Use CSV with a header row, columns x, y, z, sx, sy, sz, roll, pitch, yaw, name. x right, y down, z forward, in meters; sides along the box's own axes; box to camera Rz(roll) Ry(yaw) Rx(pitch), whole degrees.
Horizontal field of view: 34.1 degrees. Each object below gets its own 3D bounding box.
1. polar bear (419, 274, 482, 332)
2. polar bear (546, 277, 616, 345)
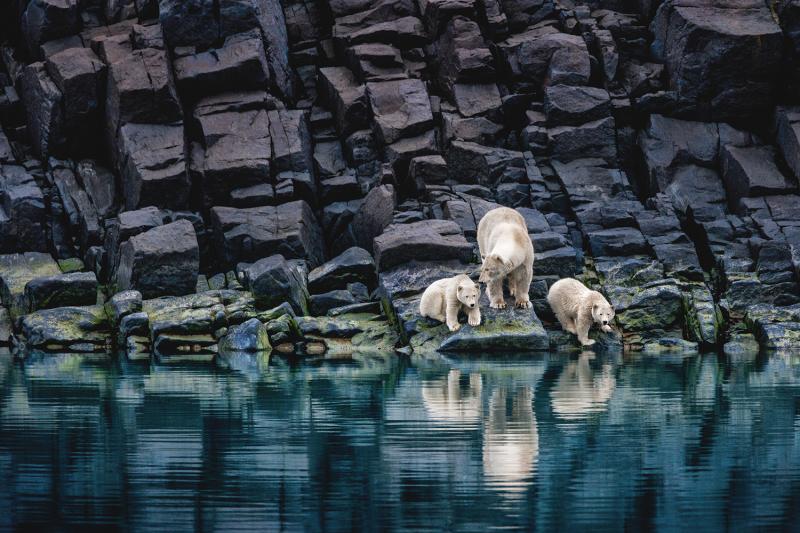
x,y,z,sx,sy,sz,roll,pitch,yaw,name
1.308,0.801,31.269,1.100,1.112,2.052,-7,13,-27,polar bear
4.550,1.044,31.657,1.176,1.282,2.129,-21,32,-27,polar bear
